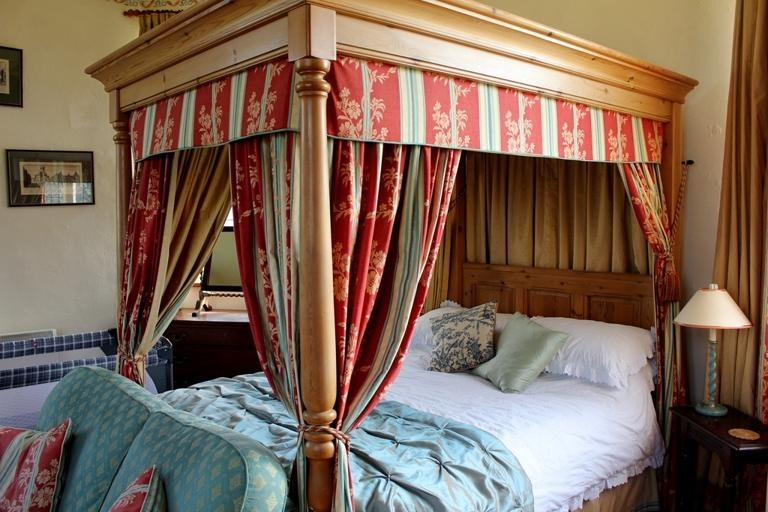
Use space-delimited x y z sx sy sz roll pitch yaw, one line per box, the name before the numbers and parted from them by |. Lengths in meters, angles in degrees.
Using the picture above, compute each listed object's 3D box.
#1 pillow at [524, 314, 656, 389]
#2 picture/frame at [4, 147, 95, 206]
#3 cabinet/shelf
pillow | 1.553 0.688 4.064 0.487 0.149 0.515 5 18 28
picture/frame | -3.279 -0.775 5.477 0.527 0.453 0.024 -4 5 -29
cabinet/shelf | -1.638 0.863 5.776 1.038 1.128 0.637 2 5 -5
